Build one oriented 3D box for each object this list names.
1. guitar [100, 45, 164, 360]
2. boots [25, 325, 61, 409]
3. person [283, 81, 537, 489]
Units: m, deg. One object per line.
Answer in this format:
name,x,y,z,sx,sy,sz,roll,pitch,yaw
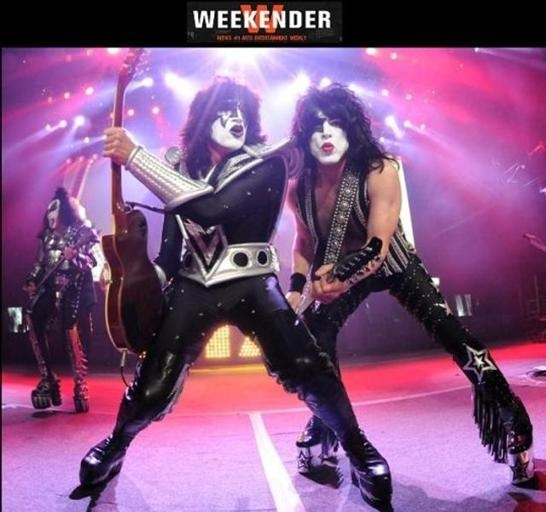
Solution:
guitar,-0.596,0.033,1.857,0.240,0.872,0.169,-2,6,-24
boots,-1.459,0.684,2.784,0.169,0.482,0.328,-3,7,-30
person,0.567,0.173,2.146,1.033,2.103,0.721,-11,7,17
